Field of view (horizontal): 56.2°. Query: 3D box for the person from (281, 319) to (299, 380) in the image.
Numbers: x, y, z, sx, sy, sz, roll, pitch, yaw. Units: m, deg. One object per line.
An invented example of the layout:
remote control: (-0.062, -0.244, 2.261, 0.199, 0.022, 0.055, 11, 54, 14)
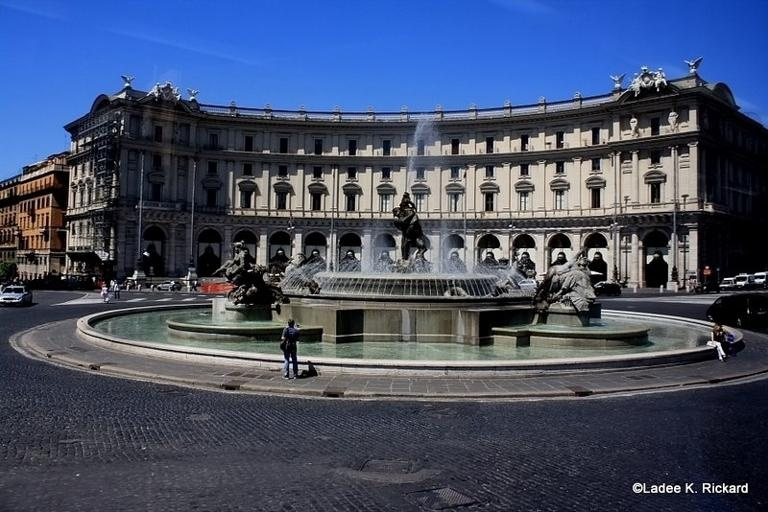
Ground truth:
person: (-2.942, 2.855, 22.403, 0.563, 1.792, 0.699, 2, -3, -6)

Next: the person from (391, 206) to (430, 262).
person: (1.297, -1.198, 35.943, 1.499, 2.847, 1.198, 1, -3, -1)

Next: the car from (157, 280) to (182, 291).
car: (-19.033, 2.642, 63.378, 1.878, 0.733, 1.062, 4, -2, 0)

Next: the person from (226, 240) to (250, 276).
person: (-5.934, 0.092, 29.467, 0.934, 1.406, 1.141, 2, -3, -16)

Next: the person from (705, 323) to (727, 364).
person: (11.941, 3.021, 25.599, 0.613, 1.239, 0.944, 0, -3, 24)

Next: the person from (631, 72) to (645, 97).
person: (24.584, -16.505, 69.547, 1.448, 2.169, 0.914, 2, -3, -16)
